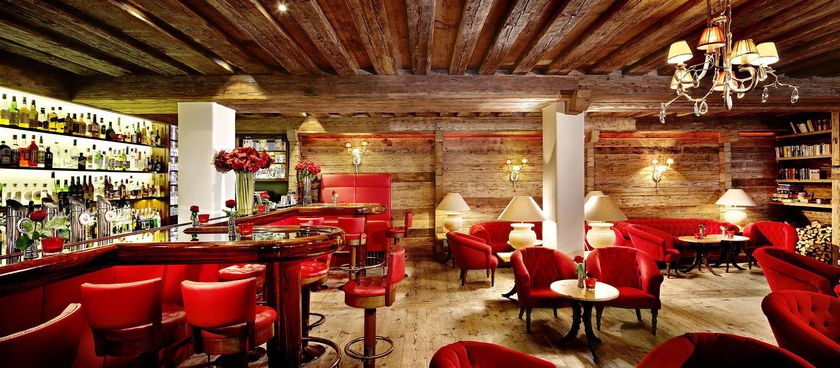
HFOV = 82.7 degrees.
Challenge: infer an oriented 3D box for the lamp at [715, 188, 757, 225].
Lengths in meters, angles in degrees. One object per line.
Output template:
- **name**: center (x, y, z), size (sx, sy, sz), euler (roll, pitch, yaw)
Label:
- **lamp**: center (9.435, 0.670, 14.203), size (1.447, 0.995, 1.313), euler (4, -7, -37)

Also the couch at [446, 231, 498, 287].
- **couch**: center (0.969, 1.919, 12.880), size (1.926, 1.321, 1.448), euler (-1, 0, -1)

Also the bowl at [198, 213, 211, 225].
- **bowl**: center (-4.590, 0.743, 10.197), size (0.290, 0.157, 0.230), euler (1, -2, -24)

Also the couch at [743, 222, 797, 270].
- **couch**: center (9.702, 1.677, 13.401), size (1.410, 0.956, 1.164), euler (-4, 3, 19)

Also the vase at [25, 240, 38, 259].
- **vase**: center (-7.160, 1.215, 8.841), size (0.213, 0.357, 0.270), euler (-4, 1, -35)

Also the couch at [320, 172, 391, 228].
- **couch**: center (-1.787, 0.482, 13.571), size (2.423, 1.436, 0.625), euler (0, -2, 1)

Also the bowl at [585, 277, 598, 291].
- **bowl**: center (3.659, 2.149, 10.391), size (0.332, 0.208, 0.219), euler (0, -1, 8)

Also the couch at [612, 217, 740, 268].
- **couch**: center (7.866, 1.706, 14.025), size (3.800, 1.140, 1.399), euler (-1, 4, -15)

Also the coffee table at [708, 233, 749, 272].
- **coffee table**: center (8.681, 1.885, 13.427), size (1.338, 0.779, 1.251), euler (-2, -2, 39)

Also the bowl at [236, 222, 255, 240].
- **bowl**: center (-3.428, 0.927, 9.481), size (0.389, 0.285, 0.341), euler (4, -8, -29)

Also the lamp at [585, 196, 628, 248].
- **lamp**: center (4.400, 0.908, 11.711), size (1.657, 1.119, 1.410), euler (-1, -4, 13)

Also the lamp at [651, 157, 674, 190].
- **lamp**: center (7.463, -0.324, 14.751), size (0.662, 0.630, 0.158), euler (-3, 1, -8)

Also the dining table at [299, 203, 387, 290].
- **dining table**: center (-1.897, 1.373, 12.334), size (2.703, 1.289, 1.838), euler (-1, -4, 2)

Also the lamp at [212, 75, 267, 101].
- **lamp**: center (-4.192, -2.340, 11.507), size (1.735, 0.600, 0.204), euler (4, 8, 22)

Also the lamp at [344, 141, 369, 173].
- **lamp**: center (-1.887, -0.840, 14.653), size (0.707, 0.905, 0.196), euler (-3, 1, -7)

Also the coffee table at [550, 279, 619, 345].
- **coffee table**: center (3.665, 2.766, 10.489), size (1.661, 0.893, 1.623), euler (-1, 4, -45)

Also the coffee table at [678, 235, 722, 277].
- **coffee table**: center (7.981, 2.006, 13.555), size (1.333, 0.881, 1.317), euler (1, -5, 41)
